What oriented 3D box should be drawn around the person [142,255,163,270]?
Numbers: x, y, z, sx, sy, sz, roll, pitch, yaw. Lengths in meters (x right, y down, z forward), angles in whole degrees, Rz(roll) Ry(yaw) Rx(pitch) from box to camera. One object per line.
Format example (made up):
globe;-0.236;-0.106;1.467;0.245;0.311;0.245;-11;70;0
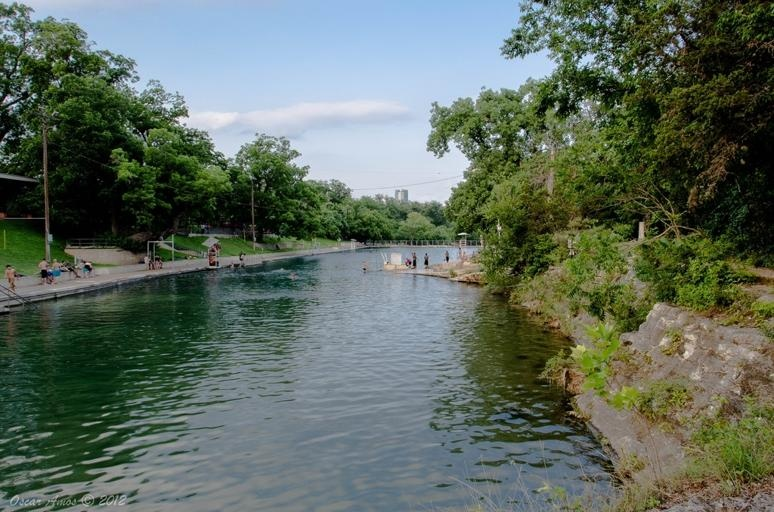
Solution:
person;-22.497;0.702;59.105;1.465;1.120;2.077;-3;6;-27
